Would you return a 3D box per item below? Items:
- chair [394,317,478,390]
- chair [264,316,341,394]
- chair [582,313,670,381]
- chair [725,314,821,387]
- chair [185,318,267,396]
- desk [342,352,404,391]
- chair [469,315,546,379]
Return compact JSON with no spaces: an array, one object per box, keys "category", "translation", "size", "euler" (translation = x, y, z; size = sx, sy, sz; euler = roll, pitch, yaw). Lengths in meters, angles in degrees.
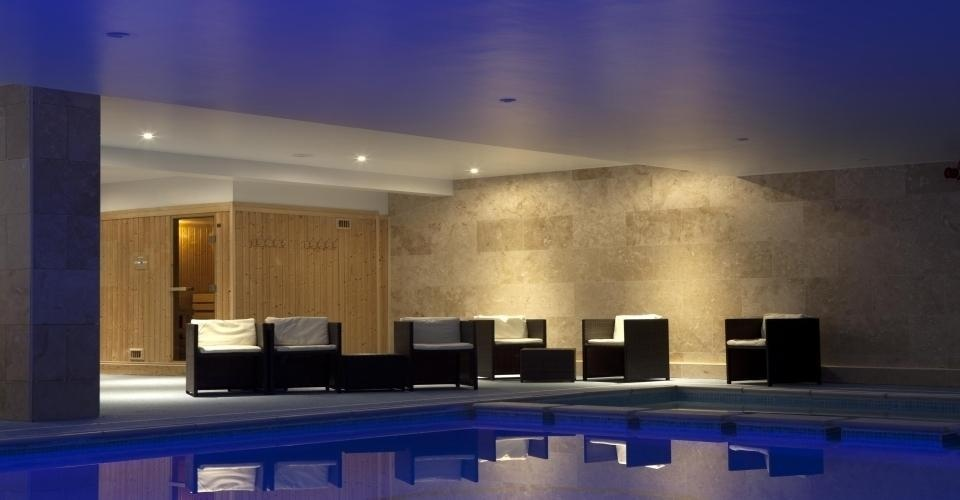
[{"category":"chair","translation":[-0.718,1.606,13.207],"size":[1.229,0.918,0.819],"euler":[3,-2,-21]},{"category":"chair","translation":[-2.829,1.591,12.949],"size":[1.239,0.880,0.592],"euler":[1,-1,-24]},{"category":"chair","translation":[2.607,1.729,14.771],"size":[1.047,0.950,1.211],"euler":[4,-8,-32]},{"category":"chair","translation":[4.950,1.664,14.014],"size":[1.191,0.920,1.164],"euler":[0,-5,-23]},{"category":"chair","translation":[-3.926,1.596,12.749],"size":[1.187,0.959,0.988],"euler":[3,-2,-27]},{"category":"desk","translation":[-1.915,1.984,13.226],"size":[0.700,0.580,1.286],"euler":[-12,-13,43]},{"category":"chair","translation":[0.481,1.734,15.160],"size":[1.249,0.947,0.869],"euler":[1,2,-32]}]
